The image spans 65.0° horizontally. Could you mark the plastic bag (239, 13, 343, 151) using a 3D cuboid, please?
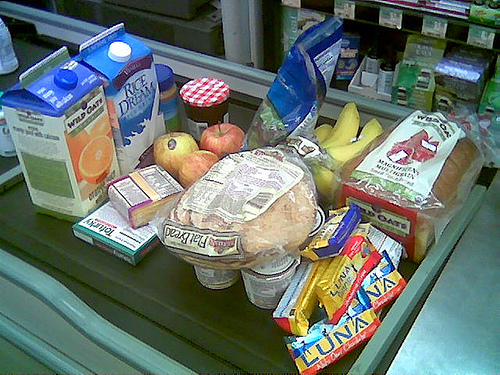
[{"bbox_3d":[0.125,-0.244,1.092,0.236,0.462,0.122,-35,68,-32],"label":"plastic bag"}]

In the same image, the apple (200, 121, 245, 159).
[{"bbox_3d":[-0.067,-0.107,1.089,0.096,0.113,0.096,-29,38,-33],"label":"apple"}]

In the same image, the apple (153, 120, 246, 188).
[{"bbox_3d":[-0.138,-0.103,1.053,0.243,0.126,0.154,-11,54,-3],"label":"apple"}]

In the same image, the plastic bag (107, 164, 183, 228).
[{"bbox_3d":[-0.248,0.008,0.947,0.144,0.052,0.148,-32,51,-31],"label":"plastic bag"}]

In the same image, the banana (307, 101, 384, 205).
[{"bbox_3d":[0.259,-0.061,1.039,0.202,0.123,0.279,13,46,23],"label":"banana"}]

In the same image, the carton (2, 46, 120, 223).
[{"bbox_3d":[-0.408,-0.082,0.958,0.163,0.436,0.224,20,44,26],"label":"carton"}]

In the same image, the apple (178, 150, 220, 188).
[{"bbox_3d":[-0.114,-0.044,1.000,0.076,0.085,0.106,-17,38,-15],"label":"apple"}]

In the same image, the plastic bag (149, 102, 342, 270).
[{"bbox_3d":[-0.014,0.047,0.850,0.279,0.311,0.294,-28,42,-26],"label":"plastic bag"}]

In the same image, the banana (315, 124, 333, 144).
[{"bbox_3d":[0.202,-0.153,1.089,0.034,0.017,0.057,15,51,18],"label":"banana"}]

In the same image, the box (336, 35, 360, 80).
[{"bbox_3d":[0.404,-0.535,1.673,0.058,0.181,0.088,-26,46,-24],"label":"box"}]

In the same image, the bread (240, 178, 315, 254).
[{"bbox_3d":[0.069,0.063,0.755,0.202,0.053,0.086,-30,50,-35],"label":"bread"}]
